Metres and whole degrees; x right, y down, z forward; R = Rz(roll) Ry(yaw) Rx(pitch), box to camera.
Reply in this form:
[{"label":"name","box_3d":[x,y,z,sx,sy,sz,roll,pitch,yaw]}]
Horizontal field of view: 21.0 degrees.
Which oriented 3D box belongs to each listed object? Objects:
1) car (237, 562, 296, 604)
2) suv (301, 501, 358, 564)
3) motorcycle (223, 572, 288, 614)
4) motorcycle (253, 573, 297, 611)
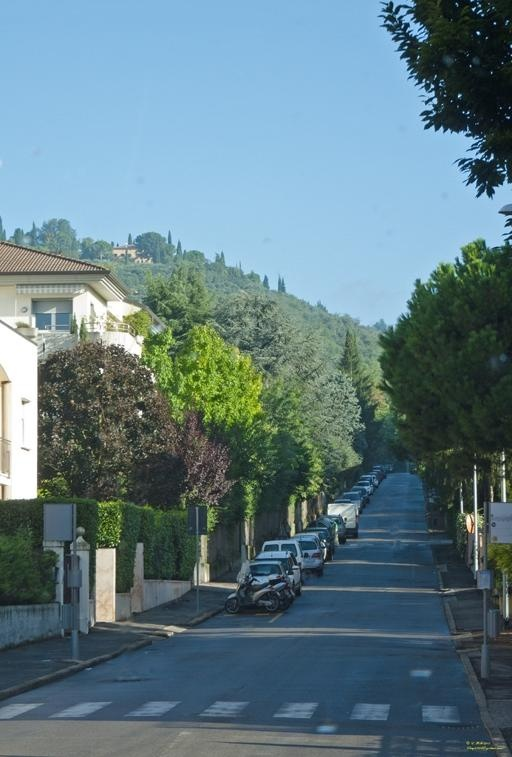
[{"label":"car","box_3d":[0.276,5.161,35.982,1.592,1.095,0.846,-1,-2,5]},{"label":"suv","box_3d":[3.633,7.175,65.717,2.311,2.032,4.729,-1,4,6]},{"label":"motorcycle","box_3d":[0.076,5.381,34.928,1.420,1.040,0.826,0,-1,12]},{"label":"motorcycle","box_3d":[0.511,5.346,34.980,1.064,0.819,0.559,-2,0,15]}]
